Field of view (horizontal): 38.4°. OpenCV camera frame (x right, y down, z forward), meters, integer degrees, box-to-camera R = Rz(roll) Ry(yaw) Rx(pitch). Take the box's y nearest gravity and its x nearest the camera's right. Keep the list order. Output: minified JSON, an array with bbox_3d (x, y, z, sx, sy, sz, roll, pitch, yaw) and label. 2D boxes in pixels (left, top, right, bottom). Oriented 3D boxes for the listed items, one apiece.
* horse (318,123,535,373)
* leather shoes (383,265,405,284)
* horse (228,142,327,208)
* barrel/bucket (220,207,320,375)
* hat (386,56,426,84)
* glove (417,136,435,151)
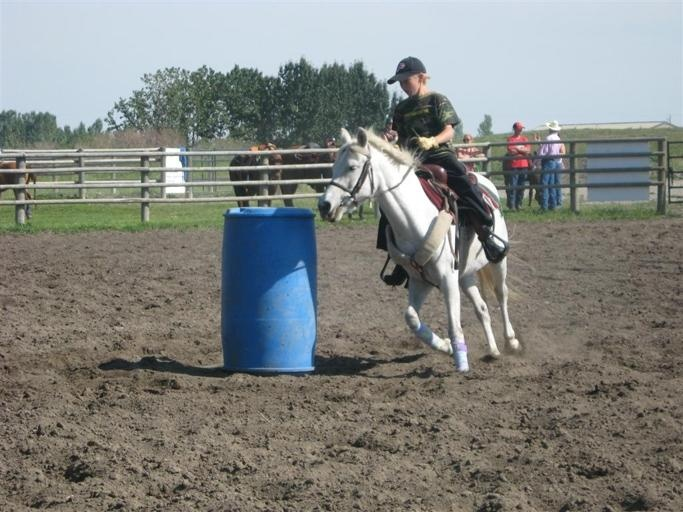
[{"bbox_3d":[0.864,-0.062,9.911,0.943,2.434,2.497,5,8,41],"label":"horse"},{"bbox_3d":[0.540,0.207,10.391,0.229,0.230,0.165,1,-1,-24],"label":"leather shoes"},{"bbox_3d":[-1.244,-1.779,21.218,2.130,1.290,2.766,1,7,13],"label":"horse"},{"bbox_3d":[-0.708,0.357,9.782,0.931,1.675,0.350,-1,6,-8],"label":"barrel/bucket"},{"bbox_3d":[0.658,-1.865,9.785,0.358,0.245,0.776,0,7,3],"label":"hat"},{"bbox_3d":[0.858,-1.140,9.844,0.137,0.051,0.132,38,52,24],"label":"glove"}]
